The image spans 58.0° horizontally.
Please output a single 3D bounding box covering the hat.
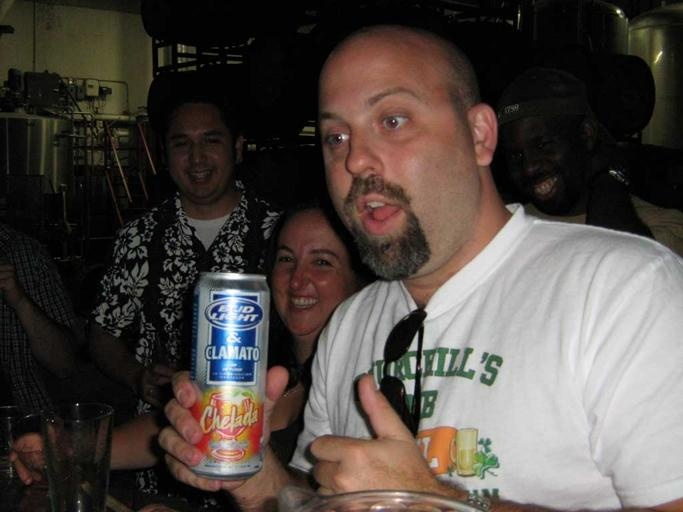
[{"bbox_3d":[1.217,-0.995,3.724,0.483,0.232,0.373,4,-15,-45],"label":"hat"}]
